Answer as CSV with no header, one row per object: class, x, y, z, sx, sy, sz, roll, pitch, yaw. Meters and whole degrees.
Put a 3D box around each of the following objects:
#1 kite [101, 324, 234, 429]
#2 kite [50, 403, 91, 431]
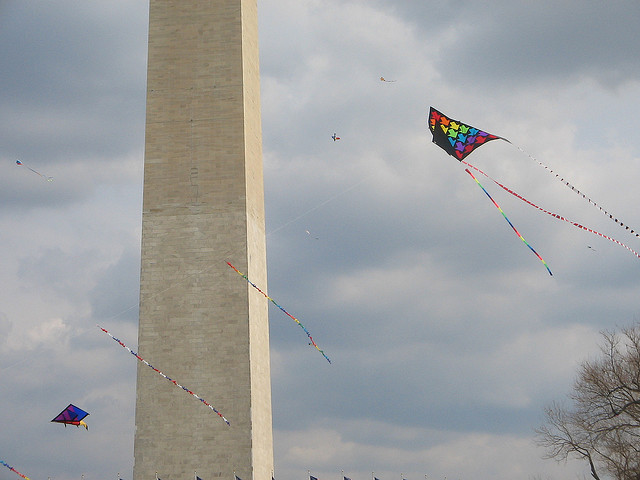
kite,-6.442,7.322,80.332,4.783,3.690,0.249,13,-49,-17
kite,-12.070,8.579,80.344,1.337,1.637,1.830,8,-46,-13
